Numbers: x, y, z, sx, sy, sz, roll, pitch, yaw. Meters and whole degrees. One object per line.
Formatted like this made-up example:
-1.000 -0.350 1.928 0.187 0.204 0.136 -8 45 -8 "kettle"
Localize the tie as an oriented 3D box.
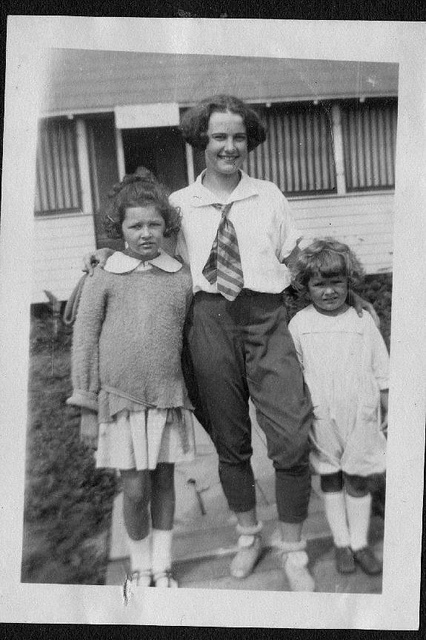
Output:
0.021 -0.122 1.200 0.067 0.184 0.016 -3 33 -5 "tie"
